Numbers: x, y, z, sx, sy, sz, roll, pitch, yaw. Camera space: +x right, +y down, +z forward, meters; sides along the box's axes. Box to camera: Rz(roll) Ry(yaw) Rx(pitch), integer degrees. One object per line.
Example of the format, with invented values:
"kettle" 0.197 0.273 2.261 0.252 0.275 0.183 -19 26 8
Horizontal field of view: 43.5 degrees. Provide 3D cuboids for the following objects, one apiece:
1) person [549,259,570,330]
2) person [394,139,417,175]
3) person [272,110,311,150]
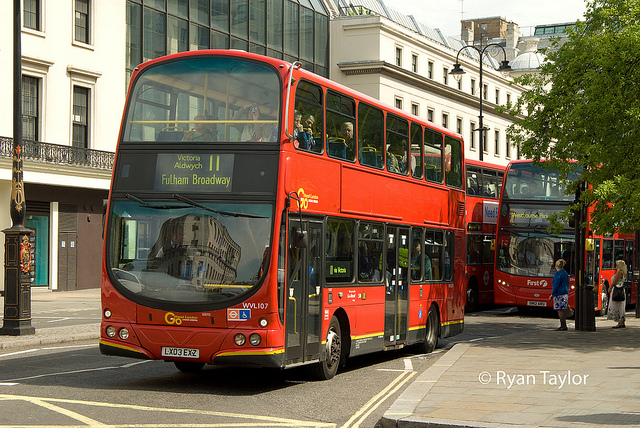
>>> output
"person" 7.486 2.477 24.955 0.451 2.123 0.778 0 0 16
"person" 1.973 -1.337 18.543 0.525 0.803 0.294 4 17 27
"person" -0.513 -1.555 14.788 0.240 0.698 0.908 0 -1 33
